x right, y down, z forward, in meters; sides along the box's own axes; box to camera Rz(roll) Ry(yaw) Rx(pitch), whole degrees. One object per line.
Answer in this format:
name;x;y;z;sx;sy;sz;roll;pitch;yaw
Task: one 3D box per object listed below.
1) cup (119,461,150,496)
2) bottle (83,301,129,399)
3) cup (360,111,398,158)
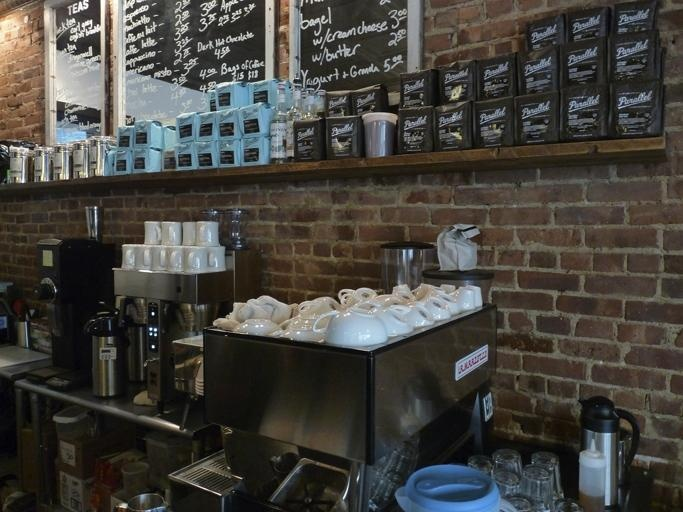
cup;-0.957;1.025;2.551;0.134;0.106;0.137;0;-9;0
bottle;-1.091;0.457;2.588;0.184;0.388;0.142;-7;6;-40
cup;0.147;-0.477;2.246;0.187;0.181;0.174;0;1;0
